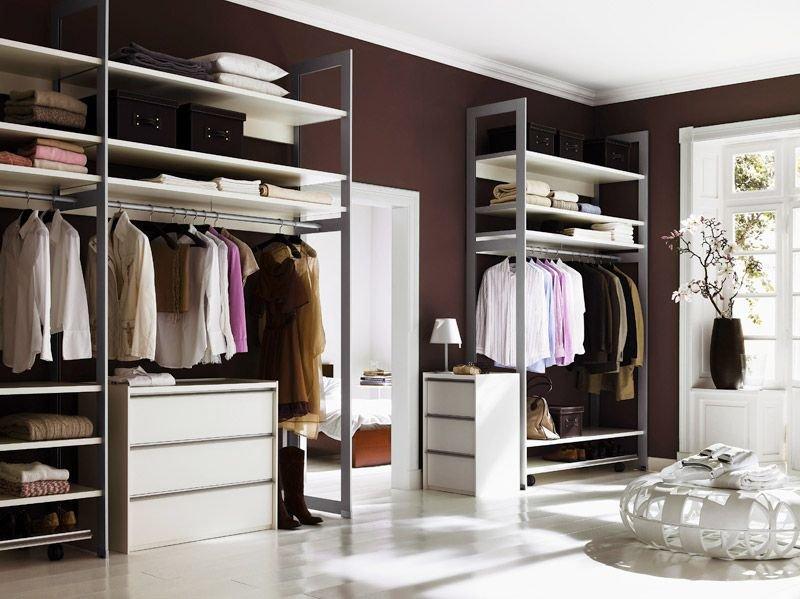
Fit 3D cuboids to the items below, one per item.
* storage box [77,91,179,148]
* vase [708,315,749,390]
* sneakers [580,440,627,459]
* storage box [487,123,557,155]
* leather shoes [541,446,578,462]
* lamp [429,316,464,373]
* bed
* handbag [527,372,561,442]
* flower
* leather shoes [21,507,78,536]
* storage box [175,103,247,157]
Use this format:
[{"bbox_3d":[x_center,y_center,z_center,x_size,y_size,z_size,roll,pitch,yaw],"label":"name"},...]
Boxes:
[{"bbox_3d":[-1.482,-1.024,3.943,0.348,0.204,0.351,0,-1,41],"label":"storage box"},{"bbox_3d":[2.946,0.483,6.235,0.299,0.639,0.164,-4,-5,23],"label":"vase"},{"bbox_3d":[1.917,1.412,6.565,0.219,0.094,0.291,-2,1,-14],"label":"sneakers"},{"bbox_3d":[1.021,-1.394,6.056,0.331,0.199,0.435,-1,-2,43],"label":"storage box"},{"bbox_3d":[1.489,1.443,6.494,0.335,0.125,0.119,-1,-3,44],"label":"leather shoes"},{"bbox_3d":[0.370,0.365,5.771,0.245,0.457,0.465,-2,-5,2],"label":"lamp"},{"bbox_3d":[-0.508,1.102,6.715,0.995,0.586,0.987,0,0,-42],"label":"bed"},{"bbox_3d":[1.269,0.969,6.174,0.253,0.554,0.595,-1,-1,-22],"label":"handbag"},{"bbox_3d":[3.006,-0.329,6.394,1.219,1.304,0.497,0,0,23],"label":"flower"},{"bbox_3d":[-1.967,1.223,3.892,0.196,0.108,0.312,-2,0,-31],"label":"leather shoes"},{"bbox_3d":[-1.150,-1.025,4.229,0.350,0.214,0.351,1,0,41],"label":"storage box"}]
